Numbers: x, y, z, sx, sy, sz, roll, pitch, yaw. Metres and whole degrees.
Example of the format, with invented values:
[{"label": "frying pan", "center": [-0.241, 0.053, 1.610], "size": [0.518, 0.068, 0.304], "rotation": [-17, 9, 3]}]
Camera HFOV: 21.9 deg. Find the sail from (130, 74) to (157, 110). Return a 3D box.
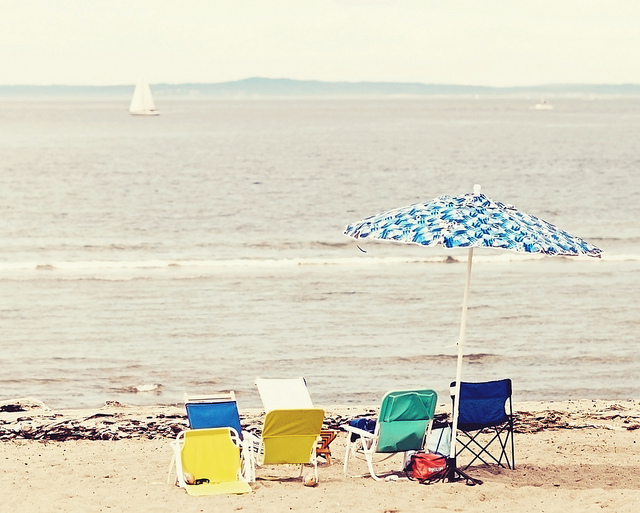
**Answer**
[{"label": "sail", "center": [-27.084, -24.287, 249.592], "size": [3.157, 5.243, 6.492], "rotation": [0, 6, -2]}]
